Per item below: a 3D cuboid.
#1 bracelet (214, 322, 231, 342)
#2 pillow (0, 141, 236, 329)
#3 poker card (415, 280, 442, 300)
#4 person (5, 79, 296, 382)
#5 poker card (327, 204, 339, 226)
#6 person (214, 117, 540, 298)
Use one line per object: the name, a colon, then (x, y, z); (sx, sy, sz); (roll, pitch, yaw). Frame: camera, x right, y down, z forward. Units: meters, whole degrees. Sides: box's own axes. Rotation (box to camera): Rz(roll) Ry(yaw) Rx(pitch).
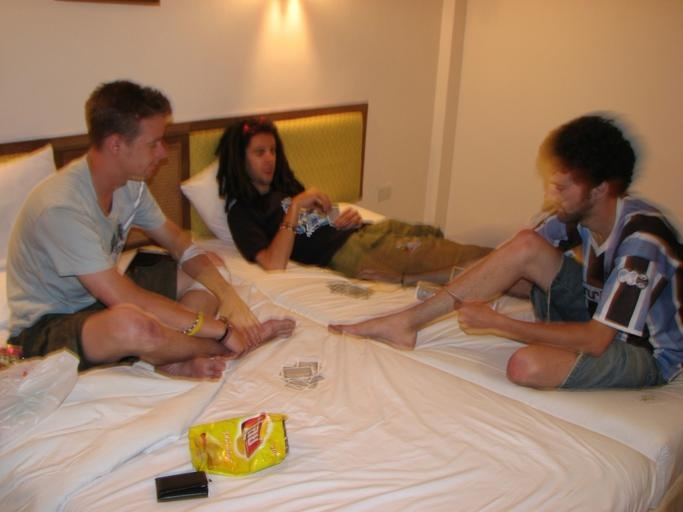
bracelet: (-0.449, 0.278, 1.885); (0.023, 0.065, 0.064); (8, -30, -15)
pillow: (-0.810, -0.047, 1.926); (0.631, 0.616, 0.501); (6, 34, -1)
poker card: (0.388, 0.156, 2.351); (0.082, 0.033, 0.083); (-24, 33, -29)
person: (-0.849, -0.202, 2.164); (1.200, 1.236, 0.931); (2, 15, 5)
poker card: (-0.047, -0.216, 2.704); (0.061, 0.107, 0.022); (0, -18, 1)
person: (0.197, -0.253, 2.699); (1.746, 0.747, 0.794); (8, 20, 5)
